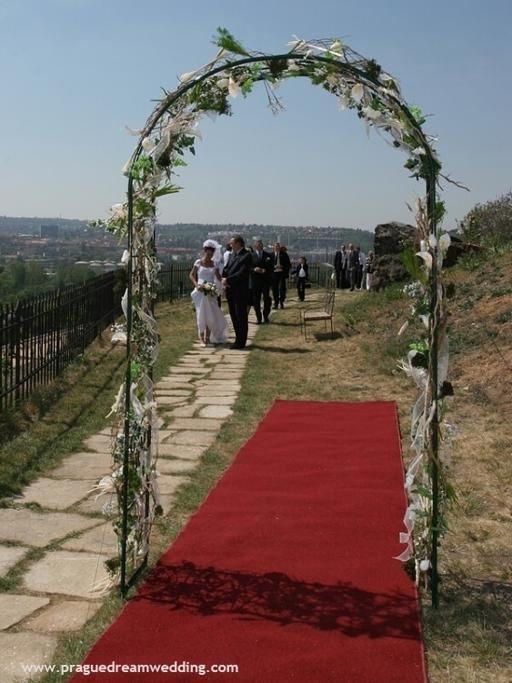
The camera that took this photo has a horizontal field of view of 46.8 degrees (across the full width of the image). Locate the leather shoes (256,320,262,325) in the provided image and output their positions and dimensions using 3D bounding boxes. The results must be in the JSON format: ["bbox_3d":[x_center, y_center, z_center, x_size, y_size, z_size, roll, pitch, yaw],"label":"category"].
[{"bbox_3d":[0.072,-0.468,14.397,0.110,0.113,0.107,6,-7,-36],"label":"leather shoes"}]

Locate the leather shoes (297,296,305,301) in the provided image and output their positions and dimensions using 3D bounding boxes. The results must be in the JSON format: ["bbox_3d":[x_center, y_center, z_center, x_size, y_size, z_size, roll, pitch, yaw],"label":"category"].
[{"bbox_3d":[1.419,-1.343,18.855,0.110,0.181,0.196,-3,3,23],"label":"leather shoes"}]

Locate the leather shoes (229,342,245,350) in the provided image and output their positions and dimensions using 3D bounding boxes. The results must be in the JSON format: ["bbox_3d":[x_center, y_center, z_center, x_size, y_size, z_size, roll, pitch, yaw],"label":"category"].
[{"bbox_3d":[-0.366,0.083,11.571,0.372,0.143,0.120,4,8,-2],"label":"leather shoes"}]

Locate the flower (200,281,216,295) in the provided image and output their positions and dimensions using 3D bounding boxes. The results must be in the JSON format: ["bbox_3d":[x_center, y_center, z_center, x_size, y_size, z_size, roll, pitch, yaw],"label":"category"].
[{"bbox_3d":[-0.874,-0.991,10.911,0.253,0.236,0.108,12,-39,-25],"label":"flower"}]

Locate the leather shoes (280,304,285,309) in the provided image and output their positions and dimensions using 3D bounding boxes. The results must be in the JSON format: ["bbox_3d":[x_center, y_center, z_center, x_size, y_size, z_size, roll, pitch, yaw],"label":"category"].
[{"bbox_3d":[0.758,-1.007,17.103,0.118,0.178,0.123,0,1,-21],"label":"leather shoes"}]
